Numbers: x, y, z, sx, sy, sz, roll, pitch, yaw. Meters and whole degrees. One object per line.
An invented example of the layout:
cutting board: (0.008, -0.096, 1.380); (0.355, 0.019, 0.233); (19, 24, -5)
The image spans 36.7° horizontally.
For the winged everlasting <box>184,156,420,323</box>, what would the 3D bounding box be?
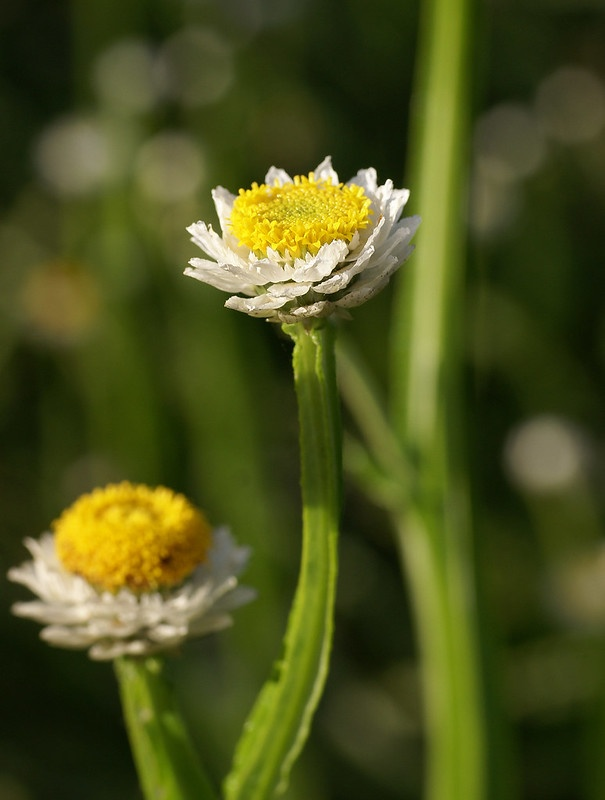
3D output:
winged everlasting: (-0.004, -0.078, 0.536); (0.128, 0.115, 0.161); (-6, 25, -6)

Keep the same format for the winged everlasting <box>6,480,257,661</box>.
winged everlasting: (-0.088, 0.091, 0.484); (0.123, 0.062, 0.090); (-4, 25, -1)
